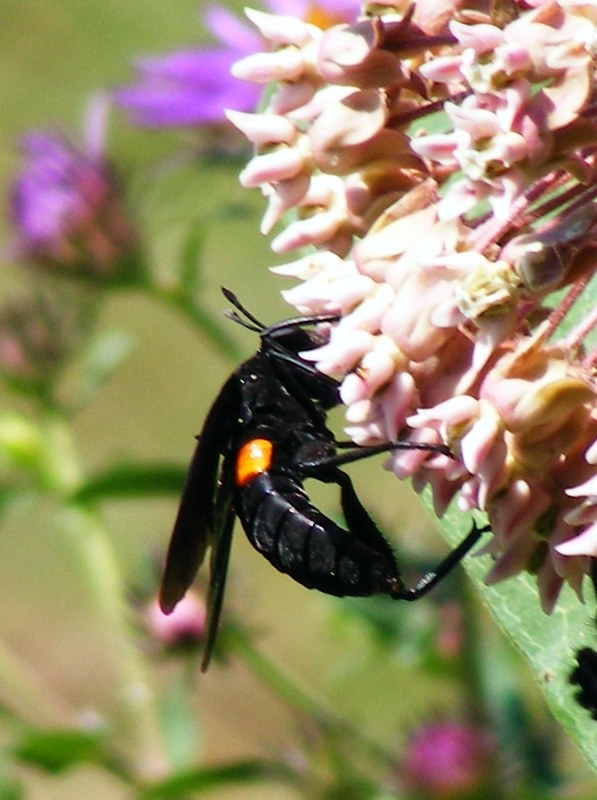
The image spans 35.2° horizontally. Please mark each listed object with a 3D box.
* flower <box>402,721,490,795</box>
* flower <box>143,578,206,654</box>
[{"bbox_3d":[0.245,0.601,1.571,0.132,0.090,0.130,12,47,9],"label":"flower"},{"bbox_3d":[-0.200,0.369,1.609,0.142,0.136,0.087,-4,32,4],"label":"flower"}]
